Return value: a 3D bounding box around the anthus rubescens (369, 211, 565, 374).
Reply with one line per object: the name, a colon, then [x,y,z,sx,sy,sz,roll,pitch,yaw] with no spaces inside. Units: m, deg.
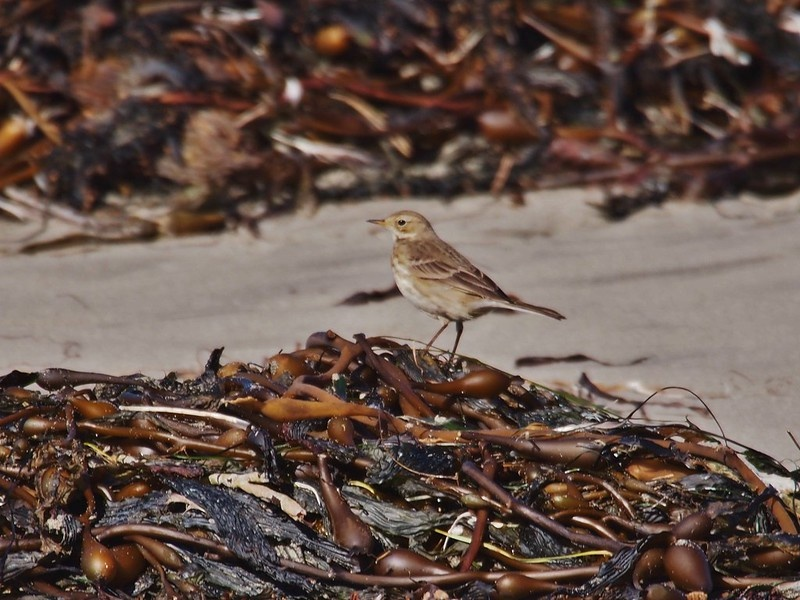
anthus rubescens: [0.281,-0.044,4.464,0.927,0.456,0.289,11,15,42]
